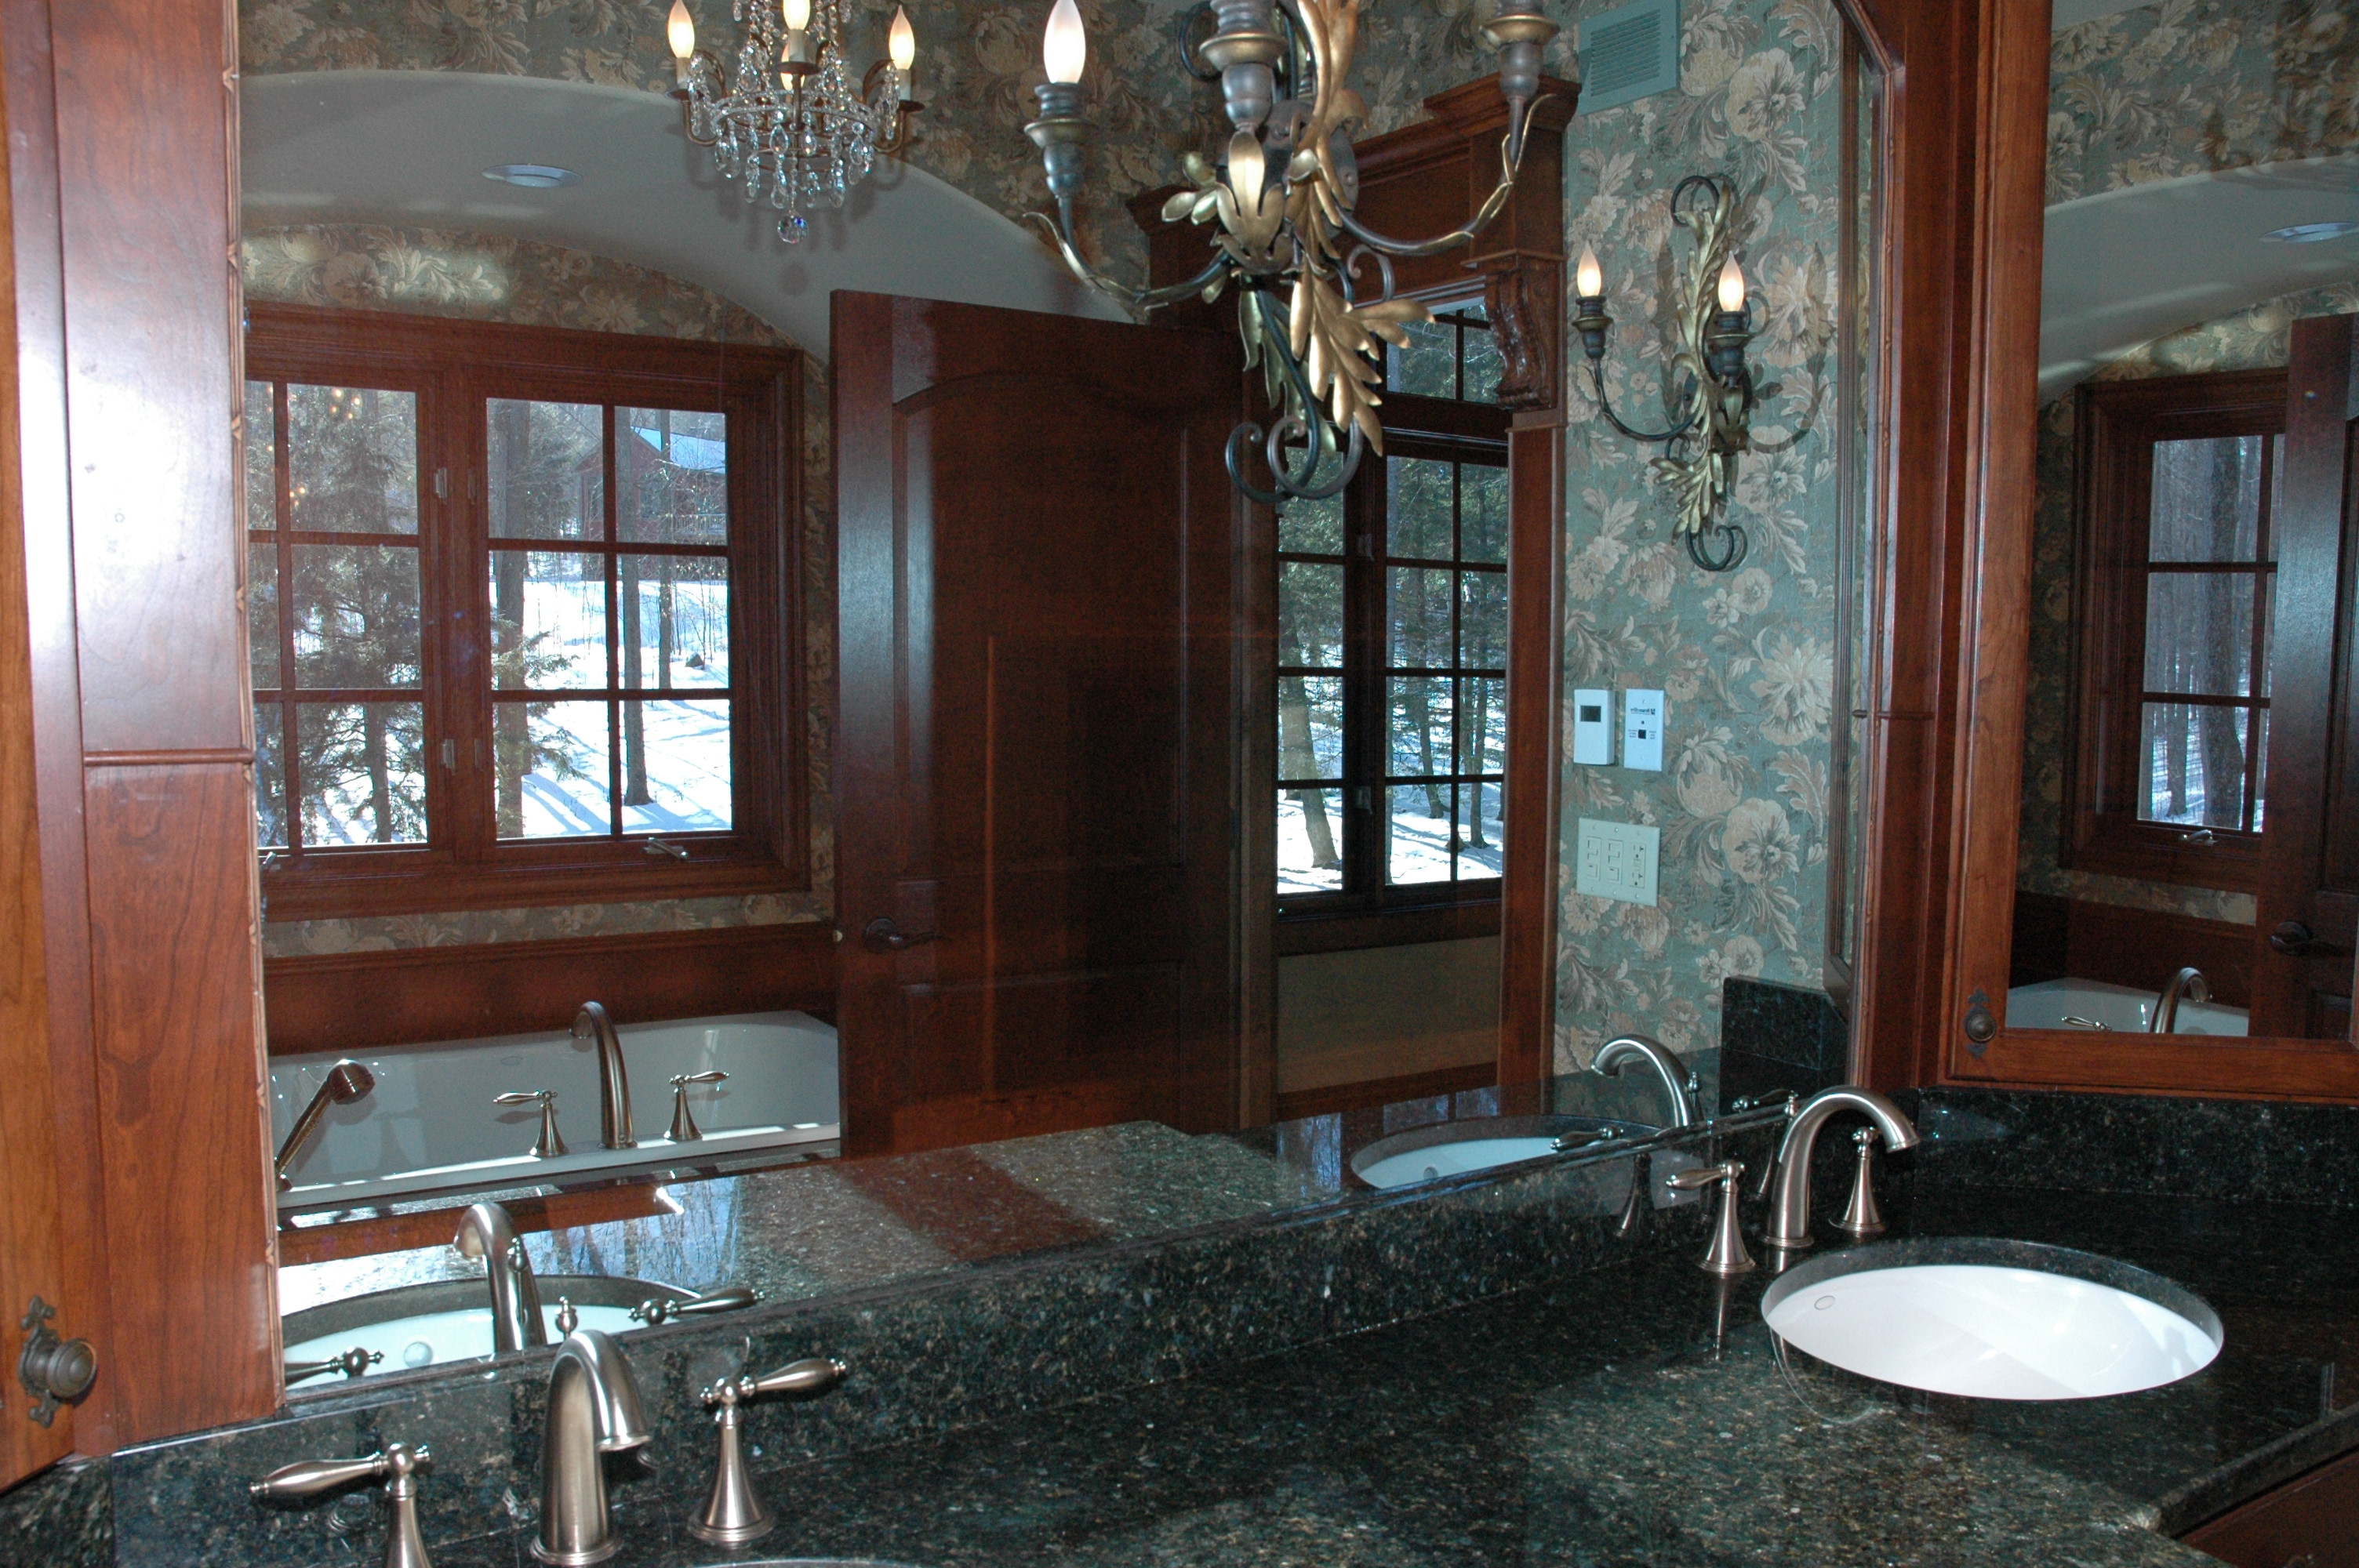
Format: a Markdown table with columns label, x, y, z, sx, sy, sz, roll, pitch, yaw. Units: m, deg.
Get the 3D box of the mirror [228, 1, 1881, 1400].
| label | x | y | z | sx | sy | sz | roll | pitch | yaw |
| --- | --- | --- | --- | --- | --- | --- | --- | --- | --- |
| mirror | -0.173 | -0.083 | 1.935 | 1.802 | 1.470 | 0.199 | -2 | 5 | -26 |
